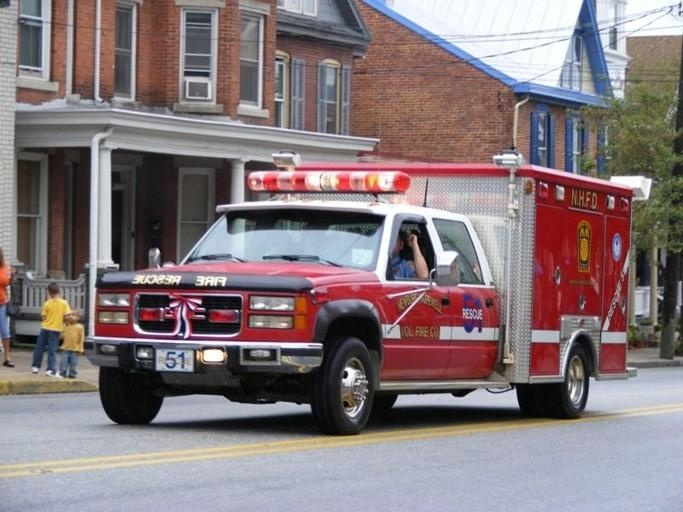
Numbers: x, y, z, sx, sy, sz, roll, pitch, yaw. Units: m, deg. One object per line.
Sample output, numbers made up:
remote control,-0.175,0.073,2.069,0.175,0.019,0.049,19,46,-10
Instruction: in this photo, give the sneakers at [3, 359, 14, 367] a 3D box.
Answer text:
sneakers,-5.813,1.908,23.448,0.078,0.088,0.209,2,-6,-42

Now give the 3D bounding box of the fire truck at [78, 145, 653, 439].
fire truck,0.558,0.496,17.645,7.471,2.886,2.665,0,-1,-43
